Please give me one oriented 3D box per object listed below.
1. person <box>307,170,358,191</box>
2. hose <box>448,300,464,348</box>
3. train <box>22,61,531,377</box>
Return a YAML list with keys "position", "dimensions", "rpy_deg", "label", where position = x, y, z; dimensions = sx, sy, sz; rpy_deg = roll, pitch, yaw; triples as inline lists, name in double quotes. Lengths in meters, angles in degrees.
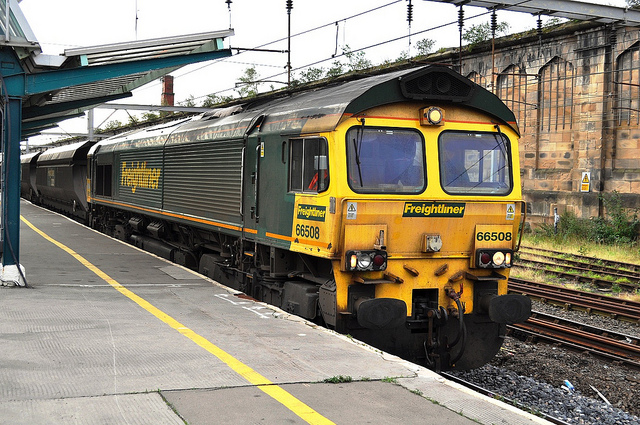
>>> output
- position: [0.163, -0.544, 8.523]
  dimensions: [0.285, 0.341, 0.992]
  rpy_deg: [-2, 6, -43]
  label: "person"
- position: [2.301, 1.906, 8.720]
  dimensions: [0.215, 0.874, 0.347]
  rpy_deg: [3, 4, 14]
  label: "hose"
- position: [-4.313, -0.341, 18.896]
  dimensions: [5.268, 6.501, 25.051]
  rpy_deg: [0, 2, -28]
  label: "train"
